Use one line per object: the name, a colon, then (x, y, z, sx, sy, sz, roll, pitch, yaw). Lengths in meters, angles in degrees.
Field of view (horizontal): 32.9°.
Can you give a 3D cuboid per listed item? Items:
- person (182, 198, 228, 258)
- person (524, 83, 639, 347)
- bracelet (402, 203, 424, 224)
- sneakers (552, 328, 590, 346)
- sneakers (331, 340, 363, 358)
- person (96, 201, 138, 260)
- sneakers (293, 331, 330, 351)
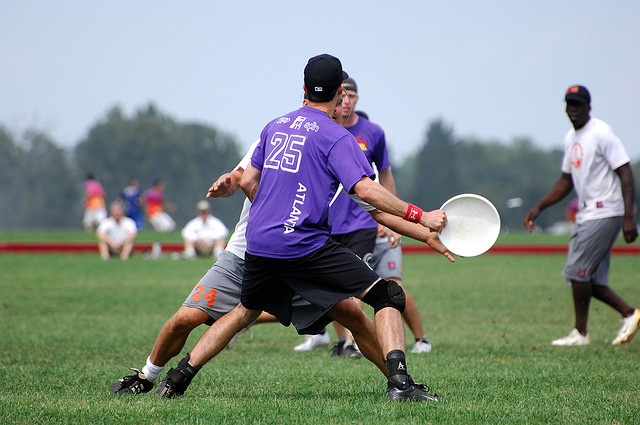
person: (-2.947, 0.492, 27.440, 1.179, 1.395, 1.193, -5, 12, -18)
person: (3.872, 0.052, 15.215, 1.304, 3.565, 0.947, 0, 8, 10)
bracelet: (1.129, 0.029, 12.931, 0.255, 0.249, 0.192, -19, 31, -10)
sneakers: (3.559, 1.781, 15.141, 0.612, 0.260, 0.207, 0, -6, 0)
sneakers: (0.365, 1.942, 15.064, 0.496, 0.209, 0.170, -3, -7, 21)
person: (-4.877, 0.453, 26.261, 0.979, 1.331, 1.149, -2, 17, 13)
sneakers: (-0.089, 1.851, 15.593, 0.660, 0.275, 0.218, -5, -2, -31)
